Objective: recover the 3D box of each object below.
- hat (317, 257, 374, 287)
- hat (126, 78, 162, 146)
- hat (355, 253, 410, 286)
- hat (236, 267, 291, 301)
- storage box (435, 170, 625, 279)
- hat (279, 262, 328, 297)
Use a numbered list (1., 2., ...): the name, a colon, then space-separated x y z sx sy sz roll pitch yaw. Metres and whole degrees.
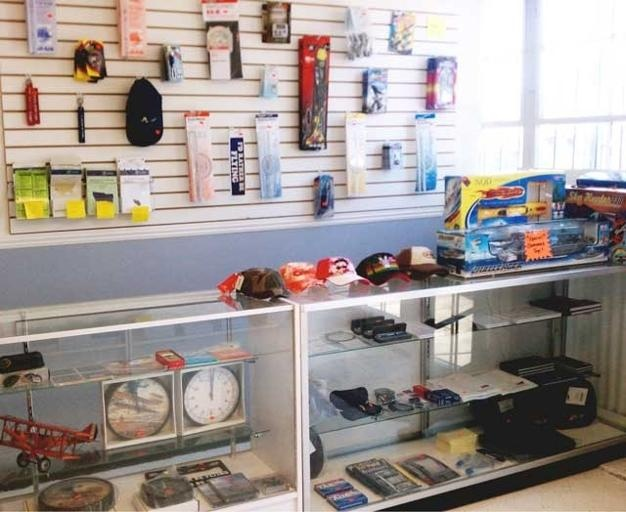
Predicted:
1. hat: 0.117 0.045 2.781 0.292 0.127 0.271 -6 12 -27
2. hat: -1.032 -0.868 3.409 0.227 0.402 0.086 -4 13 -23
3. hat: 0.338 0.037 2.835 0.266 0.156 0.232 -5 12 -28
4. hat: -0.225 0.105 2.534 0.292 0.121 0.302 -1 10 -9
5. storage box: 1.060 -0.186 3.041 1.085 0.576 0.444 -4 10 -20
6. hat: -0.076 0.099 2.728 0.211 0.140 0.193 13 16 43
